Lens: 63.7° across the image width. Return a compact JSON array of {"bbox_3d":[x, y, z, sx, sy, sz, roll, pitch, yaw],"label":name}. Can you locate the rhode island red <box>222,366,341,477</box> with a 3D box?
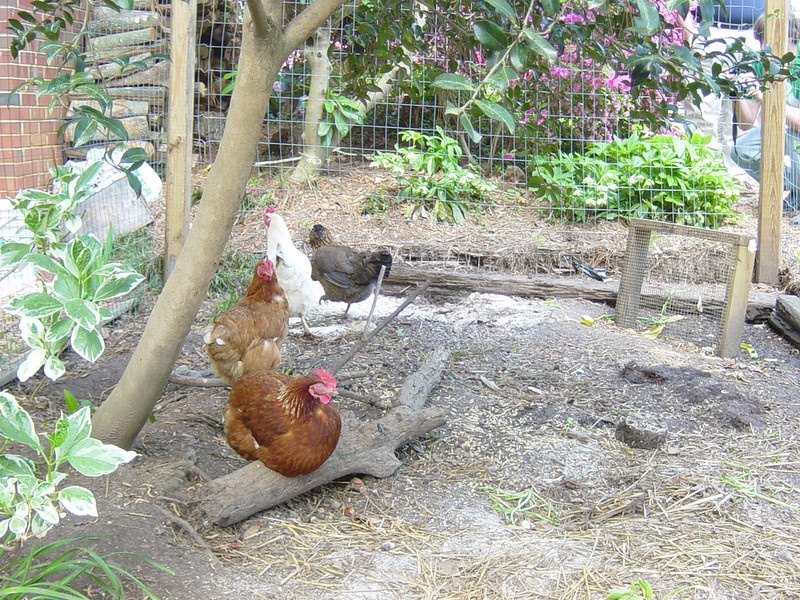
[{"bbox_3d":[-0.619,0.563,3.529,0.661,0.537,0.453,18,23,28],"label":"rhode island red"}]

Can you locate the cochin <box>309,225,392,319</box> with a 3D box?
[{"bbox_3d":[-0.520,-0.250,5.859,0.939,0.808,0.463,13,12,31],"label":"cochin"}]
